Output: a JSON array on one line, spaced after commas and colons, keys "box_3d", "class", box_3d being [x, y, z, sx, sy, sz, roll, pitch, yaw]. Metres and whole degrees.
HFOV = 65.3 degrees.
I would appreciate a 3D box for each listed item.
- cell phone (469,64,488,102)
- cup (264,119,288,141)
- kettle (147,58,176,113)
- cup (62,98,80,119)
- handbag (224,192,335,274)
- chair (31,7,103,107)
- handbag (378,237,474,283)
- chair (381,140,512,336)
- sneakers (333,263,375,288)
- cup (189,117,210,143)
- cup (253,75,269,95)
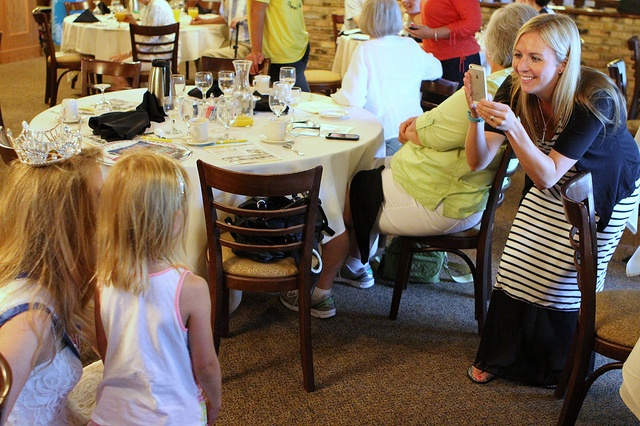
[{"box_3d": [0.710, -0.586, 2.245, 0.082, 0.161, 0.187, 4, 23, 16], "class": "cell phone"}, {"box_3d": [-0.234, -0.442, 2.663, 0.102, 0.120, 0.125, 9, 18, 16], "class": "cup"}, {"box_3d": [-0.919, -0.746, 2.937, 0.273, 0.287, 0.158, 24, 22, 39], "class": "kettle"}, {"box_3d": [-1.402, -0.592, 2.811, 0.089, 0.103, 0.107, 3, 21, 0], "class": "cup"}, {"box_3d": [-0.233, 0.060, 2.409, 0.339, 0.173, 0.479, -2, 23, -9], "class": "handbag"}, {"box_3d": [-2.886, -1.713, 5.683, 0.674, 0.978, 0.594, 3, 21, -14], "class": "chair"}, {"box_3d": [0.702, 0.271, 3.256, 0.515, 0.238, 0.318, 4, 10, 6], "class": "handbag"}, {"box_3d": [0.655, -0.069, 3.191, 0.920, 1.421, 0.823, 8, 24, 16], "class": "chair"}, {"box_3d": [0.208, 0.378, 3.211, 0.268, 0.123, 0.107, 12, 20, 30], "class": "sneakers"}, {"box_3d": [-0.630, -0.430, 2.594, 0.085, 0.099, 0.134, 4, 22, 3], "class": "cup"}, {"box_3d": [-0.380, -0.864, 3.340, 0.135, 0.122, 0.086, -26, 43, -37], "class": "cup"}]
